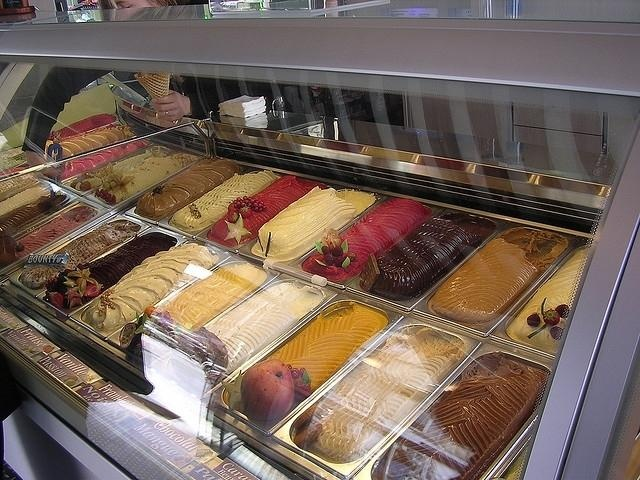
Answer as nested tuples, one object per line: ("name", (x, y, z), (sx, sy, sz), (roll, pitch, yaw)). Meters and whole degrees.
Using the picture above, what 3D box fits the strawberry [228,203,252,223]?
("strawberry", (-0.246, -0.076, 1.257), (0.066, 0.031, 0.072), (15, 55, 16))

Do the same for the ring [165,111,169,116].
("ring", (-0.464, -0.380, 1.205), (0.012, 0.009, 0.002), (11, 46, 0))

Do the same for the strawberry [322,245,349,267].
("strawberry", (0.043, 0.036, 1.052), (0.066, 0.034, 0.063), (14, 24, 38))
